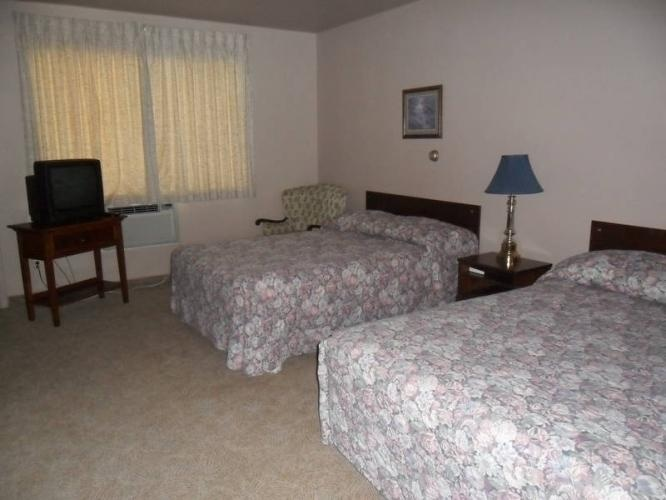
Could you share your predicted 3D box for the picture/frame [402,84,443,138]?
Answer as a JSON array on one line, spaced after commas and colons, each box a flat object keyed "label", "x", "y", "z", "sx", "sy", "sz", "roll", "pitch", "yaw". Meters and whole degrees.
[{"label": "picture/frame", "x": 0.989, "y": -1.518, "z": 5.362, "sx": 0.042, "sy": 0.600, "sz": 0.574, "roll": -11, "pitch": 16, "yaw": -39}]

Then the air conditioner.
[{"label": "air conditioner", "x": -2.279, "y": -0.313, "z": 6.092, "sx": 0.867, "sy": 0.557, "sz": 0.478, "roll": -6, "pitch": 8, "yaw": -35}]

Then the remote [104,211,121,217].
[{"label": "remote", "x": -2.412, "y": -0.391, "z": 5.357, "sx": 0.105, "sy": 0.026, "sz": 0.105, "roll": 12, "pitch": 13, "yaw": 39}]

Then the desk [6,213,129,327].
[{"label": "desk", "x": -2.662, "y": 0.171, "z": 5.095, "sx": 0.512, "sy": 1.038, "sz": 0.976, "roll": 8, "pitch": 16, "yaw": 30}]

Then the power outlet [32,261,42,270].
[{"label": "power outlet", "x": -3.302, "y": 0.163, "z": 5.456, "sx": 0.062, "sy": 0.063, "sz": 0.115, "roll": 6, "pitch": 33, "yaw": -31}]

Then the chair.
[{"label": "chair", "x": -0.403, "y": -0.550, "z": 6.498, "sx": 0.814, "sy": 0.975, "sz": 0.832, "roll": 8, "pitch": 12, "yaw": 35}]

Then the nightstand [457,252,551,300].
[{"label": "nightstand", "x": 1.546, "y": 0.202, "z": 4.506, "sx": 0.466, "sy": 0.590, "sz": 0.616, "roll": -9, "pitch": 17, "yaw": -28}]
